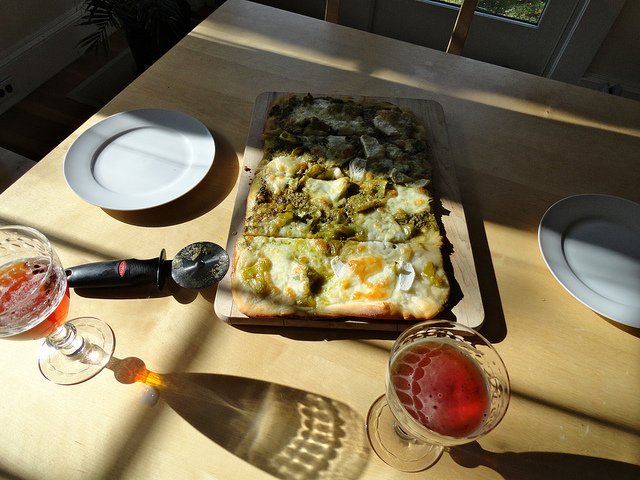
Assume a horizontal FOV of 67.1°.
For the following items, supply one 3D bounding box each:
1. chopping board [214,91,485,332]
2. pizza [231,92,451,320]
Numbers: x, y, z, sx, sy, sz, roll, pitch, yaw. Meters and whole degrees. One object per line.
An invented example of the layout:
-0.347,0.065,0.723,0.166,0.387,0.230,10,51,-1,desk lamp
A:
0.041,-0.141,1.429,0.638,0.029,0.792,2,60,-9,chopping board
0.049,-0.098,1.355,0.546,0.076,0.750,0,50,2,pizza
